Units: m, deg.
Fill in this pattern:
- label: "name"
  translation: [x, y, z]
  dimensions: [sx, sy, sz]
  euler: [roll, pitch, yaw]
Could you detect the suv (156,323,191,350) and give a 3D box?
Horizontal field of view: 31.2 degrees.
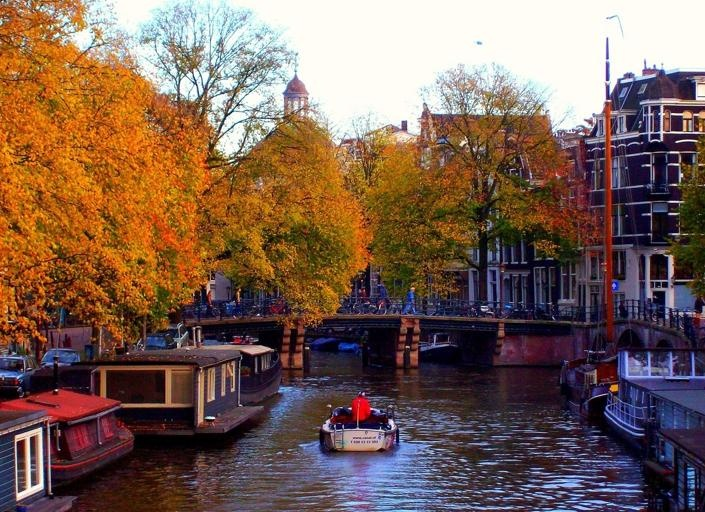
- label: "suv"
  translation: [-9.436, 4.206, 66.356]
  dimensions: [0.941, 0.995, 2.204]
  euler: [-2, -7, 3]
